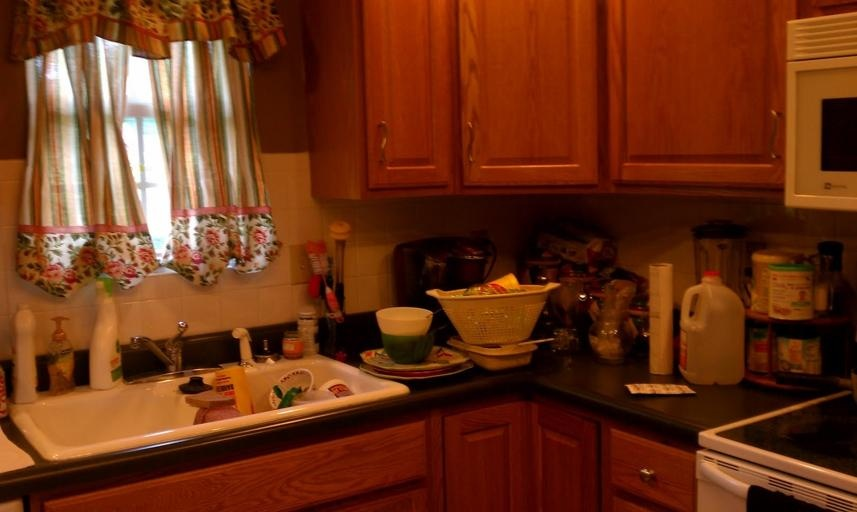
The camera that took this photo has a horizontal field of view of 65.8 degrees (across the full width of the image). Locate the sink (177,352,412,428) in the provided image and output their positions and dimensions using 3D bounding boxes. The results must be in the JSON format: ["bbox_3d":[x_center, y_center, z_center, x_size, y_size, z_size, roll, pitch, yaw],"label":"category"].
[{"bbox_3d":[-0.548,0.529,2.579,0.485,0.160,0.388,-7,11,-28],"label":"sink"}]

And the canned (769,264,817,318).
[{"bbox_3d":[1.235,0.121,2.371,0.201,0.202,0.190,0,0,7],"label":"canned"}]

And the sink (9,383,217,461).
[{"bbox_3d":[-1.219,0.597,2.479,0.443,0.092,0.321,0,4,-39],"label":"sink"}]

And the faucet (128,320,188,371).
[{"bbox_3d":[-1.080,0.367,2.693,0.225,0.193,0.127,-8,15,-22],"label":"faucet"}]

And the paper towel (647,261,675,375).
[{"bbox_3d":[0.916,0.246,2.604,0.100,0.421,0.141,3,15,19],"label":"paper towel"}]

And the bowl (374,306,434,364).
[{"bbox_3d":[-0.090,0.313,2.616,0.217,0.160,0.230,0,-1,0],"label":"bowl"}]
